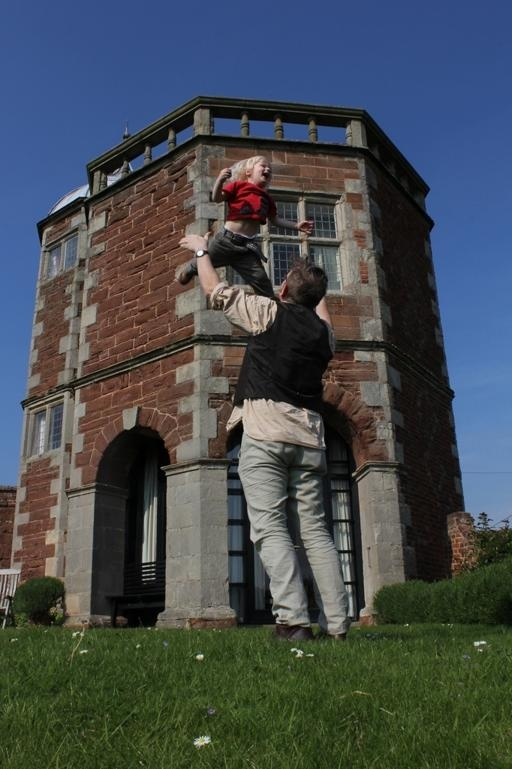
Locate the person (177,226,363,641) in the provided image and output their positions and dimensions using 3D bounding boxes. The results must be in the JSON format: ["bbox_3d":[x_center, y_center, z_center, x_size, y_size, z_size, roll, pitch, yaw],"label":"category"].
[{"bbox_3d":[0.099,0.261,3.744,1.010,2.369,0.524,4,-14,-17],"label":"person"}]

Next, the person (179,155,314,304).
[{"bbox_3d":[-0.087,-1.067,4.530,0.938,1.206,0.660,8,-6,2],"label":"person"}]

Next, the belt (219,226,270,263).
[{"bbox_3d":[-0.078,-0.969,4.422,0.171,0.081,0.265,22,-18,33],"label":"belt"}]

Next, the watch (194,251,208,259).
[{"bbox_3d":[-0.325,-0.743,3.772,0.065,0.041,0.059,-9,8,17],"label":"watch"}]

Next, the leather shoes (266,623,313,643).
[{"bbox_3d":[0.179,1.379,3.515,0.089,0.105,0.241,11,-10,-38],"label":"leather shoes"}]
